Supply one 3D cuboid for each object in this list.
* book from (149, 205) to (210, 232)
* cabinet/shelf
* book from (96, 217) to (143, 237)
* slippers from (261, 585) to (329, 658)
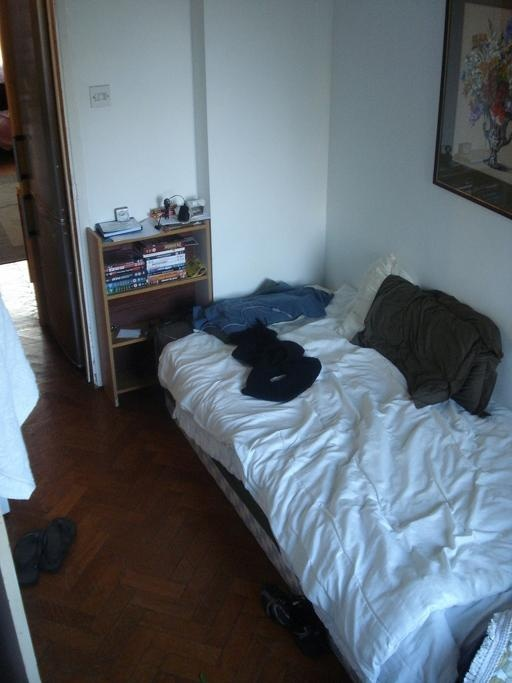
[{"bbox_3d":[-0.423,-0.683,2.950,0.333,0.108,0.183,-7,22,-10],"label":"book"},{"bbox_3d":[-0.596,-0.190,2.980,0.727,1.144,0.295,-19,38,-27],"label":"cabinet/shelf"},{"bbox_3d":[-0.727,-0.600,2.854,0.237,0.071,0.183,-9,23,-16],"label":"book"},{"bbox_3d":[0.124,0.917,1.824,0.127,0.087,0.218,-22,46,-14],"label":"slippers"}]
